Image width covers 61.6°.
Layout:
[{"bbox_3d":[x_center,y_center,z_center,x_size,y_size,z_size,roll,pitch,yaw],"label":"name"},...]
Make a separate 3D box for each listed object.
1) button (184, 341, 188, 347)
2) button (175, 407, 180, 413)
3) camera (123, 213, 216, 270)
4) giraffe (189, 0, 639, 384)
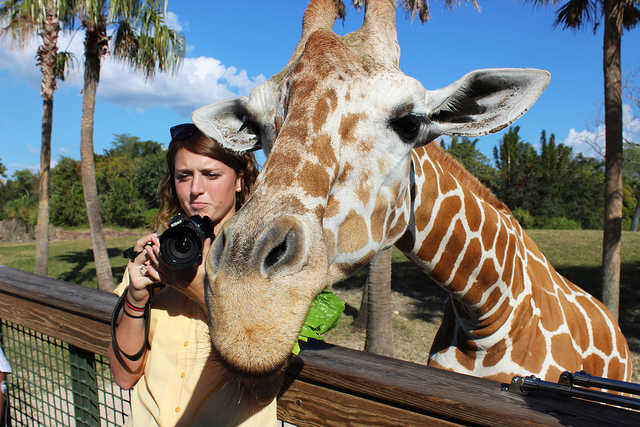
[{"bbox_3d":[-1.339,1.310,5.375,0.033,0.054,0.016,2,1,-3],"label":"button"},{"bbox_3d":[-1.403,1.935,5.287,0.042,0.047,0.013,2,1,-18],"label":"button"},{"bbox_3d":[-1.287,0.268,5.319,0.591,0.412,0.492,2,1,3],"label":"camera"},{"bbox_3d":[1.280,0.166,6.629,2.854,4.231,5.565,-3,-7,38],"label":"giraffe"}]
